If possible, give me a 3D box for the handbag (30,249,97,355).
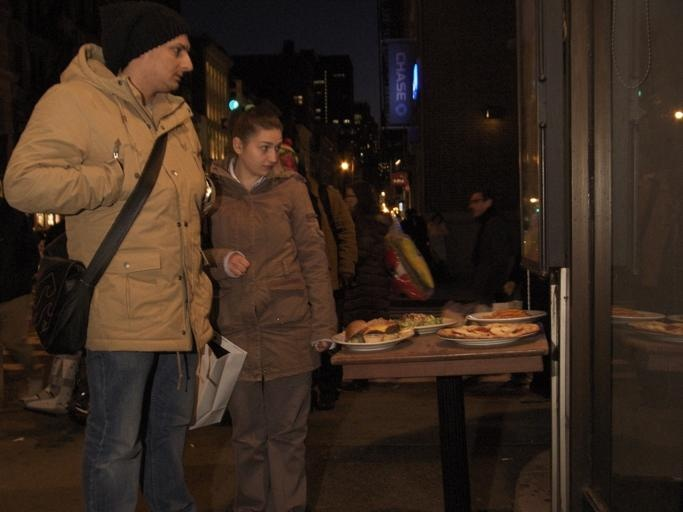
[{"bbox_3d":[-1.338,0.251,3.598,0.319,0.472,0.198,1,5,6],"label":"handbag"}]

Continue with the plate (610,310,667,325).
[{"bbox_3d":[1.527,0.312,3.835,0.322,0.090,0.046,-3,6,-35],"label":"plate"}]
